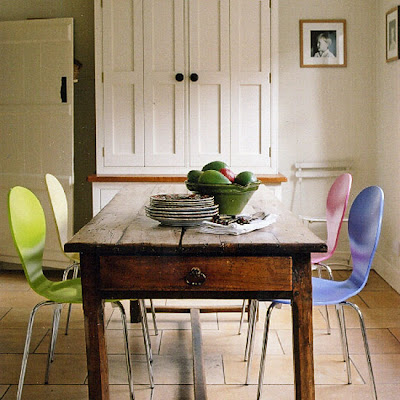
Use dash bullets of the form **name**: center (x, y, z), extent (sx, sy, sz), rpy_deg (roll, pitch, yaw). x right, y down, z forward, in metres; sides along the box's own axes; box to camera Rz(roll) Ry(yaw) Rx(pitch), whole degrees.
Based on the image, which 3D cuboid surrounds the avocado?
- **avocado**: center (0.081, -0.117, 1.607), extent (0.272, 0.109, 0.125), rpy_deg (3, 7, 4)
